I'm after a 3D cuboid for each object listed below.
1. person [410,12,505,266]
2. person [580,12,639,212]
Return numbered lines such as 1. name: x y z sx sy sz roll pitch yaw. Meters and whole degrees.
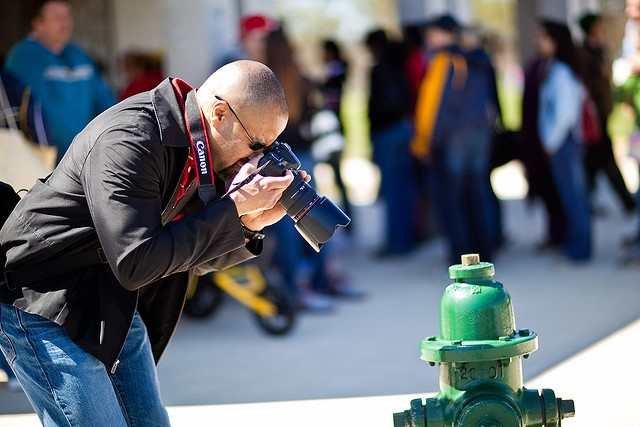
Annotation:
1. person: 1.621 -0.844 15.849 0.967 2.847 0.440 -3 11 8
2. person: 3.119 -1.391 14.563 0.538 3.170 0.769 -5 -3 14
